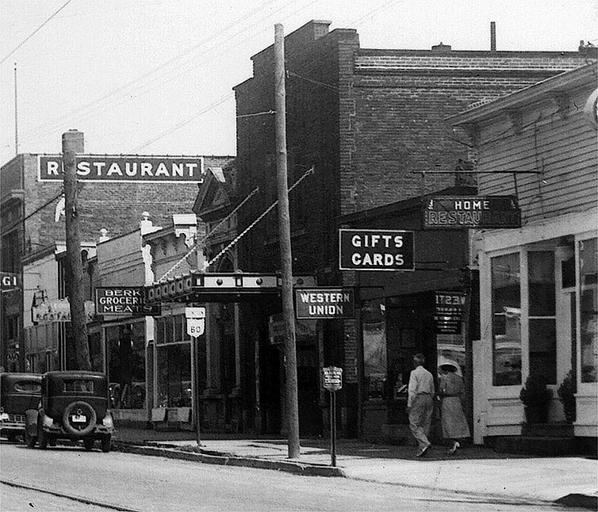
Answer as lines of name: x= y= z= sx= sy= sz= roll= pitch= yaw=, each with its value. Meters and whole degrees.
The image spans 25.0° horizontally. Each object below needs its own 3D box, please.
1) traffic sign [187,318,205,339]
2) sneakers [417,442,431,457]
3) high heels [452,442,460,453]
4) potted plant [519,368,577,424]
traffic sign: x=-2.530 y=1.784 z=32.842 sx=0.338 sy=0.441 sz=0.608 roll=-2 pitch=-8 yaw=2
sneakers: x=2.625 y=4.108 z=28.452 sx=0.269 sy=0.310 sz=0.652 roll=-3 pitch=-9 yaw=4
high heels: x=3.307 y=4.041 z=28.451 sx=0.129 sy=0.161 sz=0.365 roll=0 pitch=0 yaw=3
potted plant: x=5.186 y=2.944 z=28.031 sx=1.057 sy=0.849 sz=1.031 roll=0 pitch=-6 yaw=5
